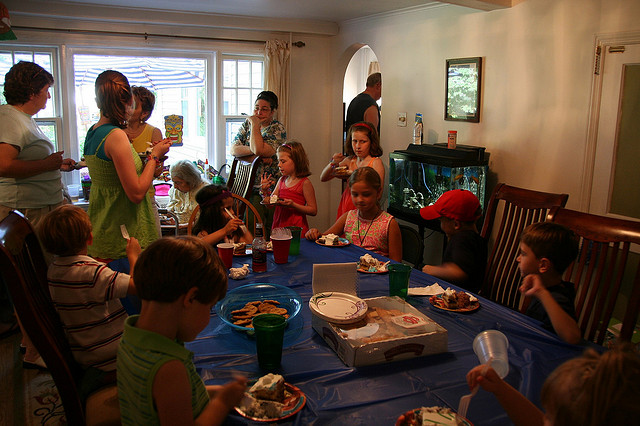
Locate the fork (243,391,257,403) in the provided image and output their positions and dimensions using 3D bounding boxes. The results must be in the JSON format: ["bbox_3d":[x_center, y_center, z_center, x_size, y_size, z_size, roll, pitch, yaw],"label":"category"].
[{"bbox_3d":[-0.256,0.663,1.559,0.049,0.012,0.051,34,-5,-9],"label":"fork"}]

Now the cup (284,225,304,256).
[{"bbox_3d":[-0.148,0.181,2.762,0.158,0.174,0.146,-1,1,0],"label":"cup"}]

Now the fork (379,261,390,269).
[{"bbox_3d":[0.379,0.298,2.538,0.081,0.031,0.012,-31,7,-37],"label":"fork"}]

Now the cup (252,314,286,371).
[{"bbox_3d":[-0.193,0.498,1.735,0.190,0.229,0.173,0,0,0],"label":"cup"}]

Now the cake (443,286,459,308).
[{"bbox_3d":[0.641,0.409,2.121,0.058,0.031,0.082,13,40,-29],"label":"cake"}]

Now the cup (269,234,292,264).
[{"bbox_3d":[-0.230,0.209,2.625,0.149,0.151,0.145,0,10,0],"label":"cup"}]

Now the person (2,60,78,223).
[{"bbox_3d":[-2.075,-0.496,3.105,0.482,1.108,0.348,-13,18,-40],"label":"person"}]

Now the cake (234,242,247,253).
[{"bbox_3d":[-0.489,0.203,2.658,0.050,0.018,0.053,2,31,4],"label":"cake"}]

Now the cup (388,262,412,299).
[{"bbox_3d":[0.385,0.322,2.114,0.149,0.185,0.144,1,3,0],"label":"cup"}]

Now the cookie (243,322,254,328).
[{"bbox_3d":[-0.315,0.492,1.896,0.033,0.008,0.044,-6,15,-17],"label":"cookie"}]

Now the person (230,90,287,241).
[{"bbox_3d":[-0.703,-0.334,4.810,0.546,1.915,0.619,-6,16,-28],"label":"person"}]

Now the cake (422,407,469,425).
[{"bbox_3d":[0.415,0.694,1.491,0.094,0.024,0.068,1,3,-22],"label":"cake"}]

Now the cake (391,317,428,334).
[{"bbox_3d":[0.371,0.458,1.806,0.074,0.025,0.082,-4,9,-15],"label":"cake"}]
